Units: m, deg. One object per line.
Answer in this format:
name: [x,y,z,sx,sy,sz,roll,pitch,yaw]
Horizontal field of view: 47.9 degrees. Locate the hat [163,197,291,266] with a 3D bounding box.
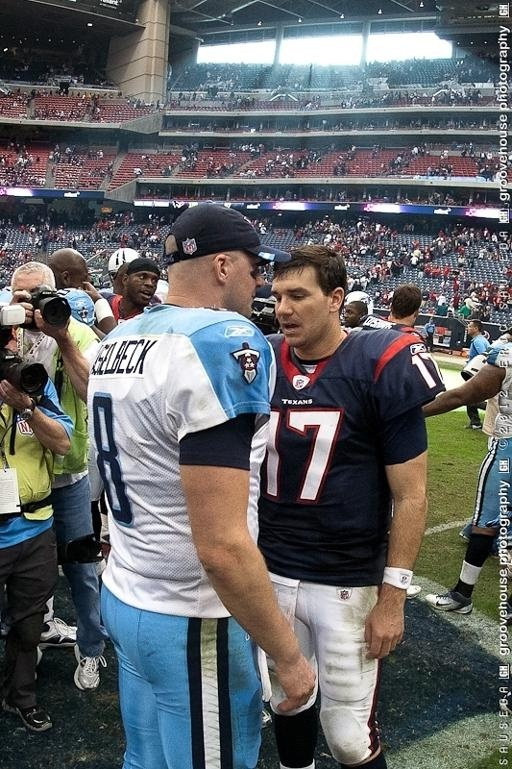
hat: [-0.054,-0.341,1.360,0.337,0.157,0.201,-6,-2,2]

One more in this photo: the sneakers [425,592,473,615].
sneakers: [1.282,1.432,3.840,0.284,0.117,0.129,10,-11,6]

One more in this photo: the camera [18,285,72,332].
camera: [-0.769,-0.272,2.103,0.143,0.103,0.154,20,7,-33]

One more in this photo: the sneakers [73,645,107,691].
sneakers: [-0.823,1.392,2.866,0.101,0.096,0.226,39,1,-31]

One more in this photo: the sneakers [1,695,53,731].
sneakers: [-0.993,1.405,2.530,0.268,0.100,0.091,1,-1,33]

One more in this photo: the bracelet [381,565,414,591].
bracelet: [0.418,0.568,1.717,0.075,0.055,0.075,13,-10,30]

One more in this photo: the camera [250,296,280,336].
camera: [0.072,-0.617,5.108,0.318,0.261,0.530,3,6,15]
